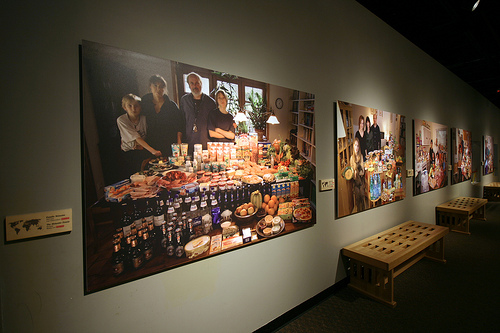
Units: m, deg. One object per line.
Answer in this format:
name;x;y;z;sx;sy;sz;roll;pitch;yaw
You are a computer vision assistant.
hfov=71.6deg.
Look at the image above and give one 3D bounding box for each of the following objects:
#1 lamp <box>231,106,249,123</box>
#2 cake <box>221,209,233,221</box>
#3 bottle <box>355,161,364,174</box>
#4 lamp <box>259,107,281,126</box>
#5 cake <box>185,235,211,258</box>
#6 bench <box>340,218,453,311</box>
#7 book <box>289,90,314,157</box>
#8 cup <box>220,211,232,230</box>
lamp;-0.103;-0.568;3.780;0.144;0.128;0.147;-10;13;-20
cake;-0.256;0.534;3.763;0.110;0.118;0.029;-6;-3;-23
bottle;1.510;0.021;4.787;0.068;0.183;0.134;6;2;43
lamp;0.216;-0.554;3.979;0.174;0.223;0.214;0;4;40
cake;-0.549;0.869;3.637;0.223;0.077;0.194;-21;9;6
bench;2.248;1.299;5.045;2.099;0.692;0.613;-8;6;-37
book;0.649;-0.479;4.212;0.481;0.886;0.072;-8;6;-43
cup;-0.258;0.591;3.760;0.134;0.172;0.115;-1;-7;41
